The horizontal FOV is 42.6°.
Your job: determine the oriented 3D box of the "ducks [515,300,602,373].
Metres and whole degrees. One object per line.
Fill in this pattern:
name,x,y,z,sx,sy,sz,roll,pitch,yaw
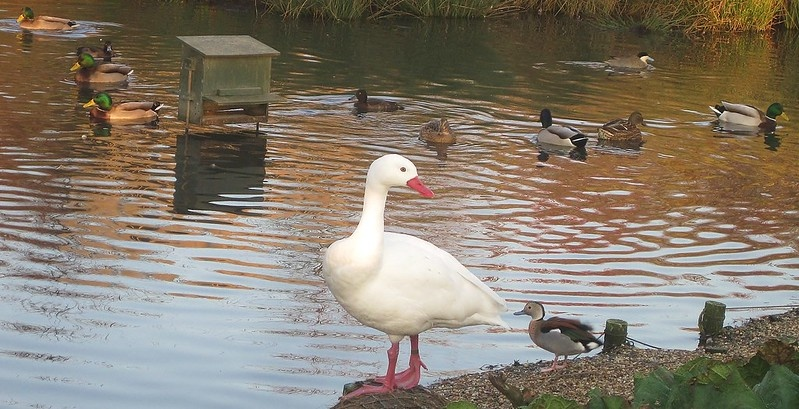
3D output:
"""ducks",3.731,2.939,23.230,1.460,1.350,1.179,0,16,-24

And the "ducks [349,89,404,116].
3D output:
"""ducks",-0.775,-3.408,34.248,1.742,0.762,0.651,-2,17,-29

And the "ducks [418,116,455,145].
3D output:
"""ducks",1.190,-2.321,32.069,1.033,0.618,1.038,-1,28,-9
